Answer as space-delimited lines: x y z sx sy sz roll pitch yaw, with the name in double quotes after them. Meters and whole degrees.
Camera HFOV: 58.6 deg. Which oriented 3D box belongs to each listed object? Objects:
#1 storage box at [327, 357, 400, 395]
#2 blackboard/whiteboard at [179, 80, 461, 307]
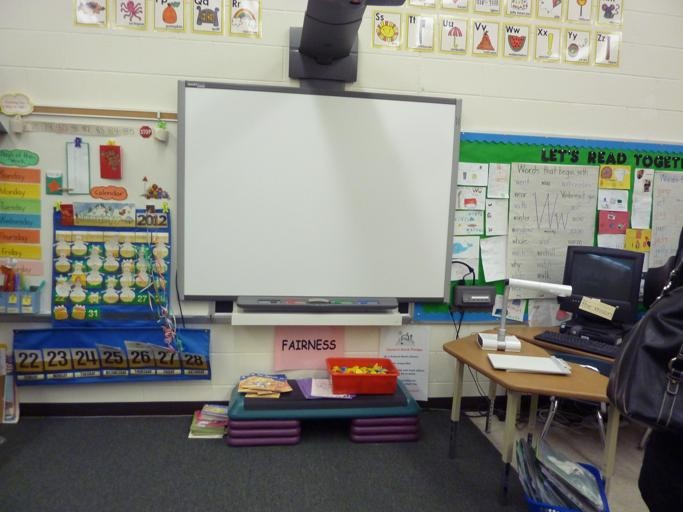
0.138 0.815 4.131 0.323 0.121 0.271 1 7 1 "storage box"
-0.230 -0.476 4.197 1.433 1.149 0.056 1 4 -9 "blackboard/whiteboard"
